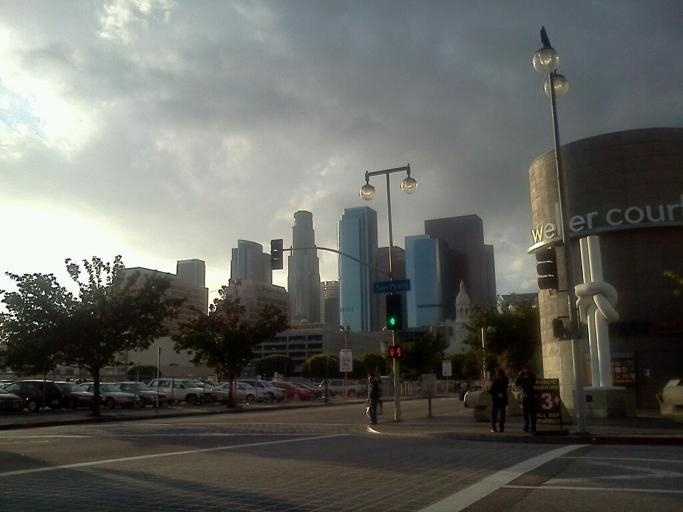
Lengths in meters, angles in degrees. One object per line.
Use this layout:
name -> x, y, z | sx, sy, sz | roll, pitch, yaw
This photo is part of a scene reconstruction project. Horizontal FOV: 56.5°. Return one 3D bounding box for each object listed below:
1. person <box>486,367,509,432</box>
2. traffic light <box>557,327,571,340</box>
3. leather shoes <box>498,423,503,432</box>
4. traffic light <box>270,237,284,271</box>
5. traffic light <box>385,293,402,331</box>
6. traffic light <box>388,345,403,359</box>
person -> 5.405, 4.902, 21.874 | 0.599, 2.265, 0.625 | -2, 18, -4
traffic light -> 7.473, 2.603, 21.447 | 0.290, 0.321, 0.168 | -13, -32, 23
leather shoes -> 5.382, 5.815, 21.482 | 0.163, 0.293, 0.171 | -2, -18, 3
traffic light -> -2.800, -0.036, 27.511 | 0.468, 1.487, 0.991 | 3, -15, -12
traffic light -> 2.213, 2.317, 26.722 | 0.600, 1.557, 0.682 | 1, -15, -1
traffic light -> 2.253, 3.993, 26.727 | 0.519, 0.516, 0.658 | 9, -18, -29
